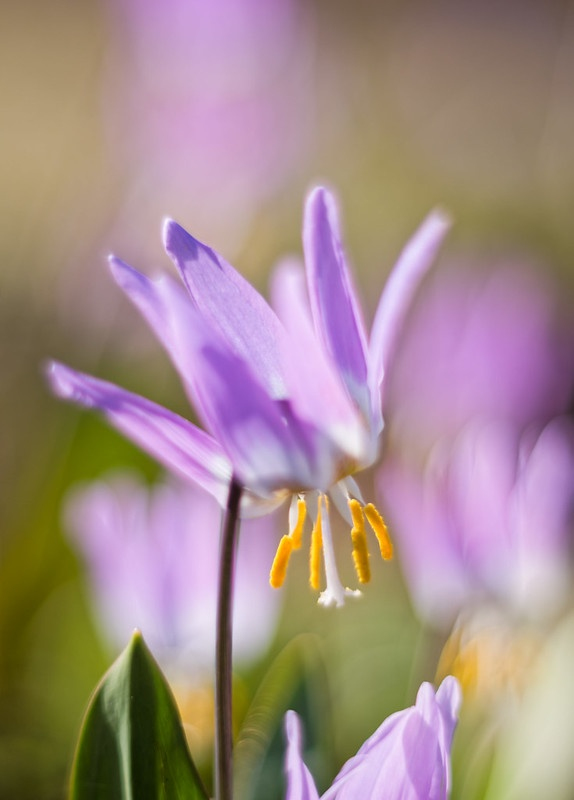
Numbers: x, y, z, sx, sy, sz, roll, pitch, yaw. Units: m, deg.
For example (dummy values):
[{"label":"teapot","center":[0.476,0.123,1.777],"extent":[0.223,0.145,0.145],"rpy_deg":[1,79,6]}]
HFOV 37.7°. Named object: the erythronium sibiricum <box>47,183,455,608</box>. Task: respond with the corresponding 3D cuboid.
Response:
[{"label":"erythronium sibiricum","center":[-0.013,-0.014,0.412],"extent":[0.150,0.189,0.155],"rpy_deg":[12,35,20]}]
